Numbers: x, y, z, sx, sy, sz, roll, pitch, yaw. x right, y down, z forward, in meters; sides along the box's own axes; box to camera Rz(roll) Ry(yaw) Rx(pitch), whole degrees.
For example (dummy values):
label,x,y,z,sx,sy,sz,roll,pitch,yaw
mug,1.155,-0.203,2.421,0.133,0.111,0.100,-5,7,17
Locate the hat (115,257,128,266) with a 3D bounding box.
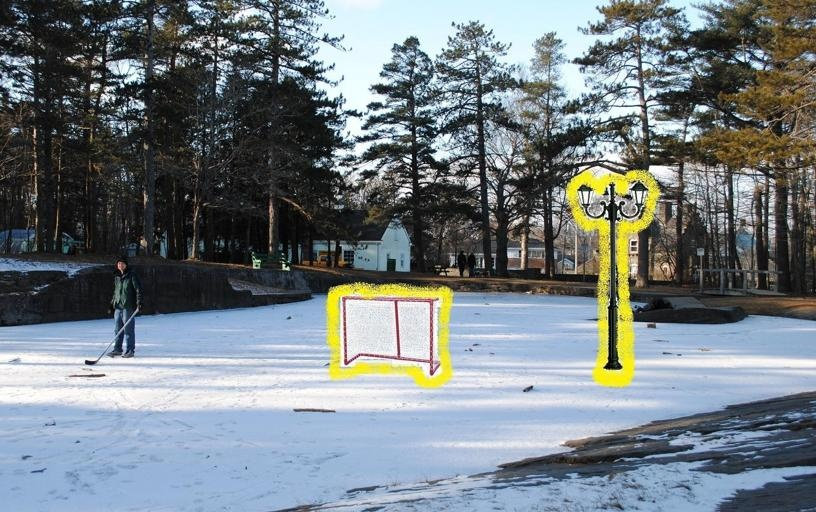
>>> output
label,x,y,z,sx,sy,sz,roll,pitch,yaw
hat,-11.013,0.143,37.314,0.387,0.325,0.437,2,8,-2
